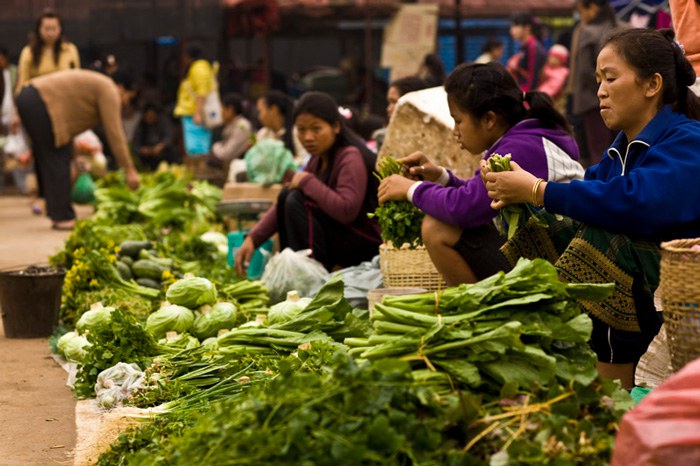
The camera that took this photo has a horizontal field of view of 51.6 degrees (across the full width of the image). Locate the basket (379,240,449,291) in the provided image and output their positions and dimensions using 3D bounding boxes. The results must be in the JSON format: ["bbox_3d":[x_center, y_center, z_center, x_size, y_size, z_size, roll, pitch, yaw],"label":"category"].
[{"bbox_3d":[0.396,0.214,4.712,0.455,0.295,0.252,3,10,13],"label":"basket"}]
